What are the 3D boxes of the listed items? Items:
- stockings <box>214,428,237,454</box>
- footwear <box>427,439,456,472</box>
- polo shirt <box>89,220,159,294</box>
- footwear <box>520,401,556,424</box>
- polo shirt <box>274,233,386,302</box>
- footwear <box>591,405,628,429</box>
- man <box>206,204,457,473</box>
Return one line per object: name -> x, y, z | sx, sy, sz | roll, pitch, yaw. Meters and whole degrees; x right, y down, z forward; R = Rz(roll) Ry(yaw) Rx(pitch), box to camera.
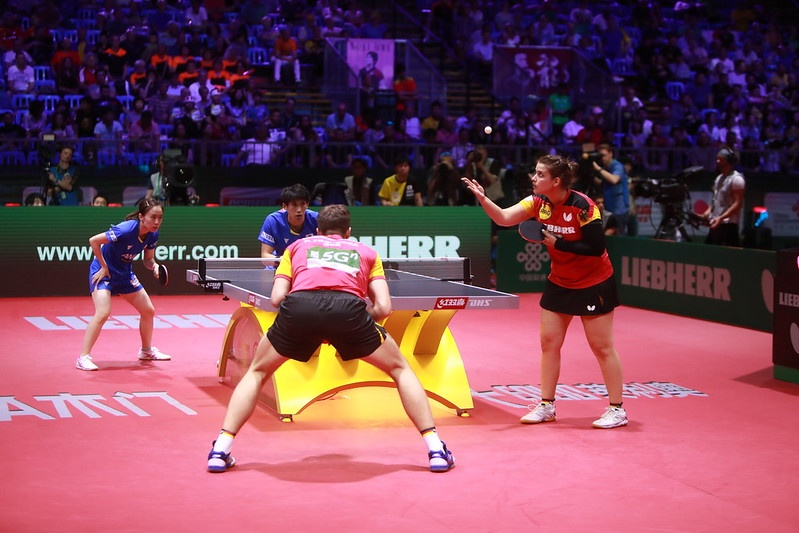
stockings -> -1.246, 1.259, 4.803 | 0.124, 0.154, 0.219 | 13, 16, -5
footwear -> 0.310, 1.437, 4.909 | 0.111, 0.140, 0.292 | -1, -1, 9
polo shirt -> -3.305, -0.153, 7.976 | 0.667, 0.812, 0.375 | -1, 7, -15
footwear -> 1.326, 1.390, 6.257 | 0.417, 0.195, 0.147 | 1, -2, -28
polo shirt -> -0.527, -0.061, 5.188 | 0.860, 0.464, 0.801 | -1, 12, -4
footwear -> 1.959, 1.401, 6.112 | 0.417, 0.191, 0.147 | 0, -1, -19
man -> -0.513, 0.551, 4.928 | 1.727, 1.928, 0.567 | 0, 7, -3
